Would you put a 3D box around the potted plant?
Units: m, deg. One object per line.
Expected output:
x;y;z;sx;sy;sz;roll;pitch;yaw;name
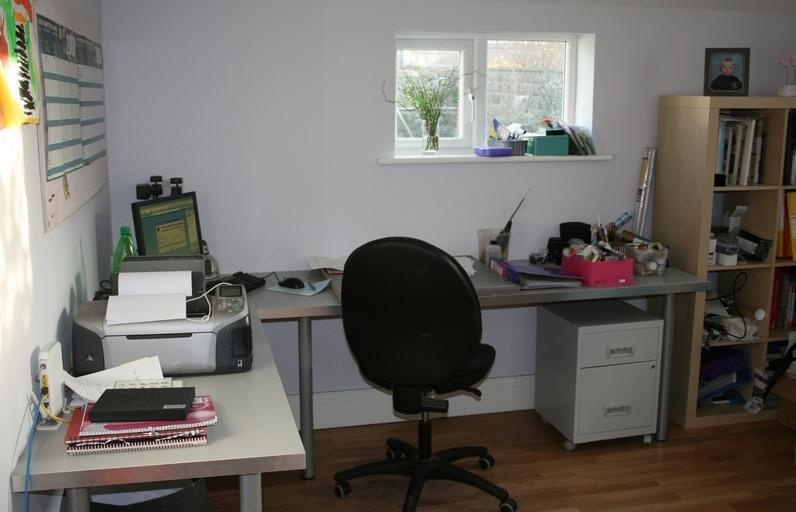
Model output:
0.260;-0.877;3.821;0.365;0.416;0.343;9;5;-10;potted plant

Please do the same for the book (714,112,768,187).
2.063;-0.639;3.645;0.203;0.420;0.382;11;20;43;book

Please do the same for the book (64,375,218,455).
-0.865;0.571;2.062;0.499;0.094;0.212;-4;14;-4;book

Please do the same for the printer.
-0.917;0.241;2.420;0.656;0.386;0.362;-1;17;-19;printer

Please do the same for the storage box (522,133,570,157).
0.935;-0.687;3.778;0.255;0.129;0.089;-1;15;8;storage box

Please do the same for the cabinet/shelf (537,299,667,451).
1.176;0.676;3.720;0.709;0.952;0.785;-2;5;-11;cabinet/shelf

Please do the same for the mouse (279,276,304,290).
-0.578;0.146;3.284;0.113;0.036;0.065;-1;1;30;mouse

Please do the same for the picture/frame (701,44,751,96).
2.078;-1.155;3.765;0.145;0.296;0.267;-25;28;-28;picture/frame
